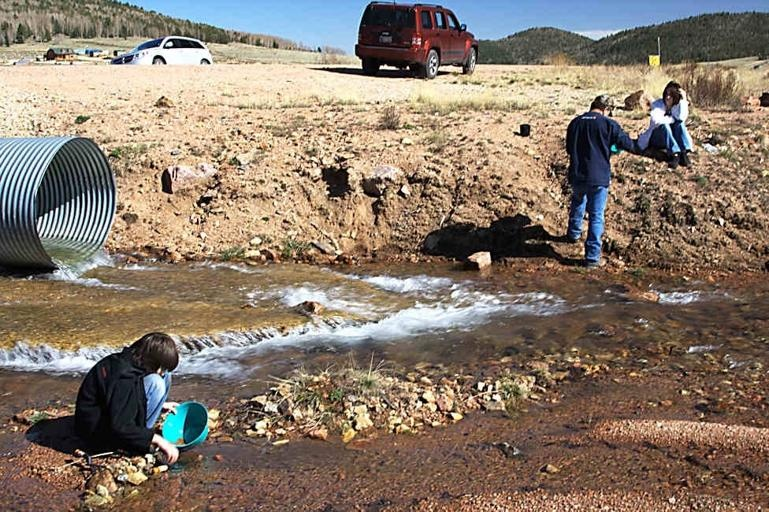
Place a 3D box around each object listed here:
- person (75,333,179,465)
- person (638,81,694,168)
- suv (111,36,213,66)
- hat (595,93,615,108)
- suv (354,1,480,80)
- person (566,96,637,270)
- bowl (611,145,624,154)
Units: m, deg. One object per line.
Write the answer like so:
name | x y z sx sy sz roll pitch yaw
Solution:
person | -3.108 1.730 7.848 1.199 1.466 0.505 -3 16 -5
person | 5.608 -2.580 13.041 1.014 1.632 1.010 7 19 28
suv | -8.977 -8.067 26.487 1.995 1.295 3.644 9 14 39
hat | 3.931 -2.716 11.685 0.372 0.183 0.226 -9 18 -24
suv | 1.307 -7.254 22.542 3.548 2.334 5.866 11 20 36
person | 3.790 -1.271 11.886 0.975 3.085 0.577 4 17 18
bowl | 4.195 -1.899 11.816 0.205 0.181 0.161 -7 22 -5
